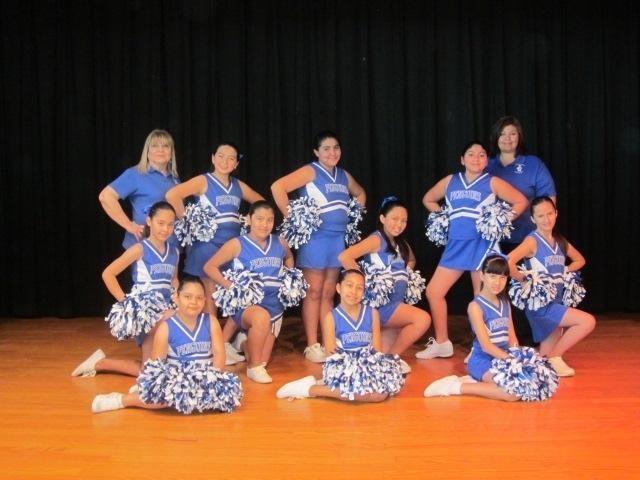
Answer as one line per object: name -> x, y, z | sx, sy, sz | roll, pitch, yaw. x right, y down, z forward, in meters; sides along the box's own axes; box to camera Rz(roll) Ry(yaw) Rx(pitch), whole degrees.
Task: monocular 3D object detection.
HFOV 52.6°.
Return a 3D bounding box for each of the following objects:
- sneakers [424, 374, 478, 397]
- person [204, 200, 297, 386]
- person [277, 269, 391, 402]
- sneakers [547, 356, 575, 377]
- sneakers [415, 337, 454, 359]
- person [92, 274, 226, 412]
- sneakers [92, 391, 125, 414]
sneakers -> 0.864, 0.955, 4.237 | 0.345, 0.134, 0.140 | -3, 7, -18
person -> -0.488, 0.343, 4.793 | 0.753, 1.335, 0.772 | 6, 17, 15
person -> 0.194, 0.658, 4.154 | 0.651, 0.834, 0.657 | 10, 14, 37
sneakers -> 1.697, 0.901, 4.549 | 0.095, 0.111, 0.240 | -3, -7, -13
sneakers -> 0.905, 0.847, 5.058 | 0.340, 0.181, 0.125 | -3, 0, 2
person -> -0.852, 0.635, 4.193 | 1.057, 0.825, 0.459 | 0, 9, -14
sneakers -> -1.305, 0.998, 3.972 | 0.137, 0.053, 0.116 | 0, 39, -18
